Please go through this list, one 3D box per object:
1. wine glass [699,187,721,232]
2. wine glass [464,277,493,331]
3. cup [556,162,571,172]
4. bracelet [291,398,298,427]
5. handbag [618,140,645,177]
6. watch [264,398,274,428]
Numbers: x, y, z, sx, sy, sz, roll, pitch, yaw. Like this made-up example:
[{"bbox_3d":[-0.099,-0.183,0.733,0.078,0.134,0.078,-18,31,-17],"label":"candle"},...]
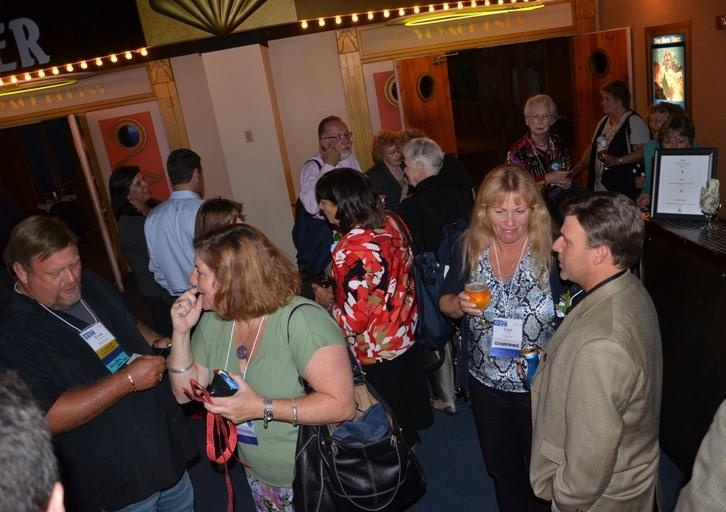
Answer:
[{"bbox_3d":[1.922,-0.254,2.829,0.098,0.304,0.096,8,36,46],"label":"wine glass"},{"bbox_3d":[0.613,0.265,2.686,0.123,0.276,0.126,-6,16,12],"label":"wine glass"},{"bbox_3d":[1.809,-0.789,4.566,0.066,0.095,0.270,5,10,39],"label":"cup"},{"bbox_3d":[-0.297,0.690,2.251,0.023,0.076,0.057,0,31,-3],"label":"bracelet"},{"bbox_3d":[2.610,-0.912,5.009,0.270,0.223,0.108,-6,36,23],"label":"handbag"},{"bbox_3d":[-0.424,0.693,2.278,0.025,0.115,0.078,5,-7,-16],"label":"watch"}]
